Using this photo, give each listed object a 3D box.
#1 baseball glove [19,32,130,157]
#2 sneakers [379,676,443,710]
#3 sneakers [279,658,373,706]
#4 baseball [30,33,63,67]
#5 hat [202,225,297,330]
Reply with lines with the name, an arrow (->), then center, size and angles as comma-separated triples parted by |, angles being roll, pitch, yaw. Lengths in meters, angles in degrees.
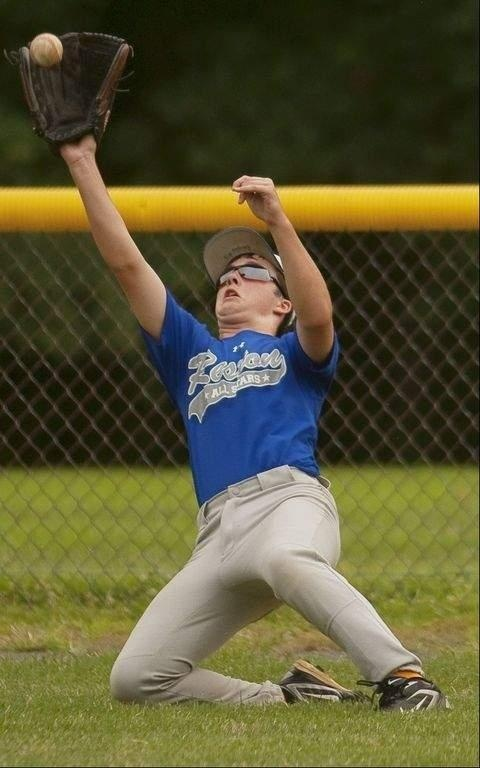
baseball glove -> -0.423, -0.749, 2.313 | 0.316, 0.143, 0.293 | -5, 82, -4
sneakers -> 0.372, 0.687, 2.016 | 0.159, 0.063, 0.061 | 1, 83, -4
sneakers -> 0.188, 0.720, 2.228 | 0.247, 0.098, 0.083 | -5, 2, 32
baseball -> -0.487, -0.837, 2.278 | 0.085, 0.078, 0.096 | -10, 39, -7
hat -> 0.054, -0.311, 2.718 | 0.230, 0.335, 0.108 | -22, -3, 25
